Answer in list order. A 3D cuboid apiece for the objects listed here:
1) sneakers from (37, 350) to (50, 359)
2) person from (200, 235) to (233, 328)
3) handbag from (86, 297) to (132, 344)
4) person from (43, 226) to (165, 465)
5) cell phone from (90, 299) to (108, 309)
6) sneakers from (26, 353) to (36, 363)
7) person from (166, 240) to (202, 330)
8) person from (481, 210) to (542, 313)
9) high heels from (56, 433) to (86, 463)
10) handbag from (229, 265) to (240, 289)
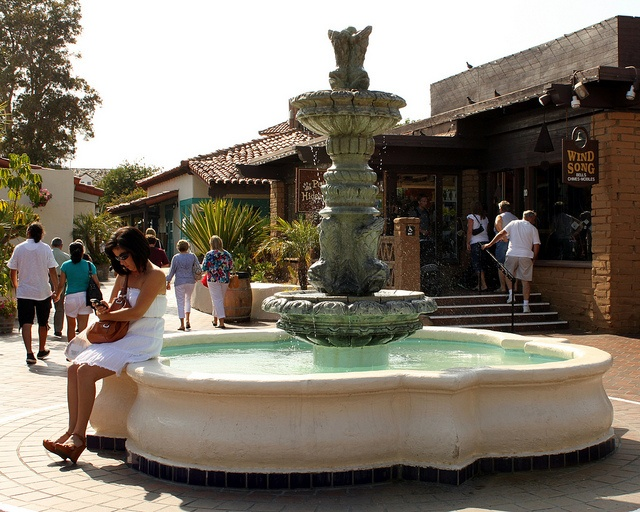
[{"bbox_3d":[-4.417,1.540,9.500,0.082,0.113,0.232,3,11,18],"label":"sneakers"},{"bbox_3d":[-2.238,0.529,12.912,0.658,1.951,0.666,-1,5,-12],"label":"person"},{"bbox_3d":[-1.825,0.592,5.245,0.281,0.405,0.144,-5,-42,42],"label":"handbag"},{"bbox_3d":[-1.871,0.697,5.252,1.029,1.892,0.792,-4,6,-33],"label":"person"},{"bbox_3d":[-1.924,0.407,5.158,0.149,0.041,0.149,6,-1,41],"label":"cell phone"},{"bbox_3d":[-4.416,1.533,9.043,0.147,0.171,0.209,-3,6,-28],"label":"sneakers"},{"bbox_3d":[-2.939,0.627,12.813,0.696,1.931,1.400,-2,5,-15],"label":"person"},{"bbox_3d":[4.329,0.103,13.058,0.848,2.188,0.566,1,5,16],"label":"person"},{"bbox_3d":[-2.031,1.555,4.810,0.190,0.257,0.143,0,5,7],"label":"high heels"},{"bbox_3d":[-2.003,0.561,13.776,0.282,0.350,0.339,-1,10,-19],"label":"handbag"}]
